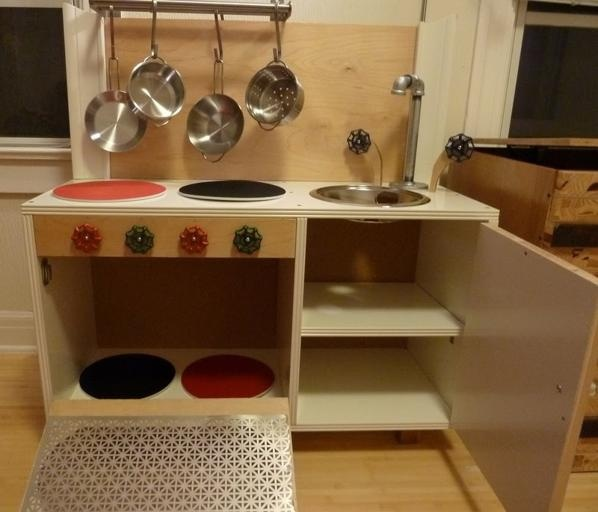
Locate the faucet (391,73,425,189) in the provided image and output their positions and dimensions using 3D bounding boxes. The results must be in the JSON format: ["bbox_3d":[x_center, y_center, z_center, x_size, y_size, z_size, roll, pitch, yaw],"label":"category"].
[{"bbox_3d":[0.420,-0.458,2.139,0.142,0.412,0.255,5,15,14],"label":"faucet"}]
